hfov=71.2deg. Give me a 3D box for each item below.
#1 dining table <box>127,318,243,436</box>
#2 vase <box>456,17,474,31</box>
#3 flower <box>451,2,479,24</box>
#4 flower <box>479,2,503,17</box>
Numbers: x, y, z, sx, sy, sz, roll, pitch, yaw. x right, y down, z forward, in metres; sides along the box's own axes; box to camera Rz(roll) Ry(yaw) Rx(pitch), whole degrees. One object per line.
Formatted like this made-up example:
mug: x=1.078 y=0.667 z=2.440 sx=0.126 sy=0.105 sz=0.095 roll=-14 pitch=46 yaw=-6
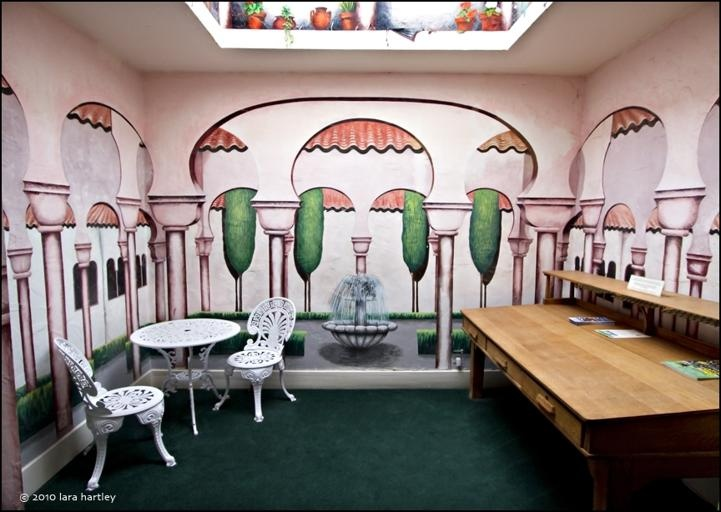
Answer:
dining table: x=-1.870 y=1.178 z=5.190 sx=1.076 sy=0.850 sz=1.043 roll=10 pitch=20 yaw=22
vase: x=1.030 y=-2.307 z=5.004 sx=0.147 sy=0.112 sz=0.134 roll=-7 pitch=14 yaw=-38
flower: x=1.041 y=-2.382 z=4.997 sx=0.181 sy=0.242 sz=0.085 roll=0 pitch=10 yaw=-4
flower: x=1.282 y=-2.455 z=4.983 sx=0.142 sy=0.059 sz=0.145 roll=-6 pitch=17 yaw=-9
